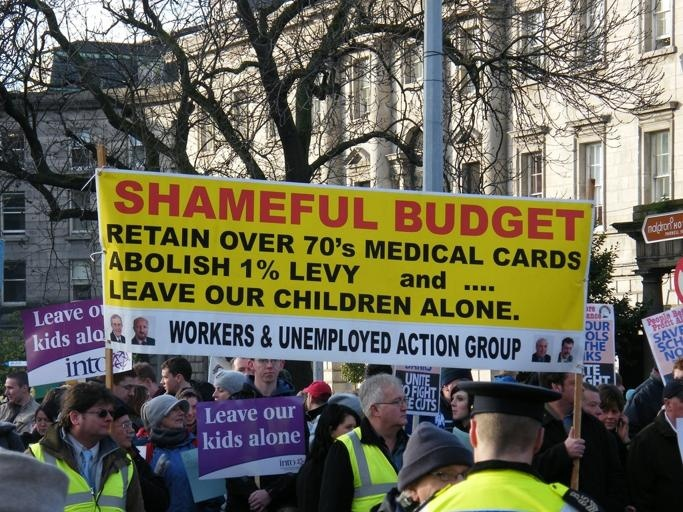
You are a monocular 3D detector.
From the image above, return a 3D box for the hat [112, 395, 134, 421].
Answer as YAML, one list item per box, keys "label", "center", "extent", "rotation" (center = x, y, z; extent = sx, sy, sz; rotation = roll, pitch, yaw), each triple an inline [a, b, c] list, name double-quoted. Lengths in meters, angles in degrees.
- label: "hat"
  center: [-2.803, 1.914, 19.767]
  extent: [0.376, 0.313, 0.292]
  rotation: [3, 1, -6]

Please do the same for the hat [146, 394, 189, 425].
- label: "hat"
  center: [-2.361, 2.012, 20.320]
  extent: [0.465, 0.233, 0.320]
  rotation: [-28, 10, 11]

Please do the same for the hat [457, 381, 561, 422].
- label: "hat"
  center: [1.805, 1.580, 16.994]
  extent: [1.072, 0.464, 0.249]
  rotation: [-2, -4, 4]
